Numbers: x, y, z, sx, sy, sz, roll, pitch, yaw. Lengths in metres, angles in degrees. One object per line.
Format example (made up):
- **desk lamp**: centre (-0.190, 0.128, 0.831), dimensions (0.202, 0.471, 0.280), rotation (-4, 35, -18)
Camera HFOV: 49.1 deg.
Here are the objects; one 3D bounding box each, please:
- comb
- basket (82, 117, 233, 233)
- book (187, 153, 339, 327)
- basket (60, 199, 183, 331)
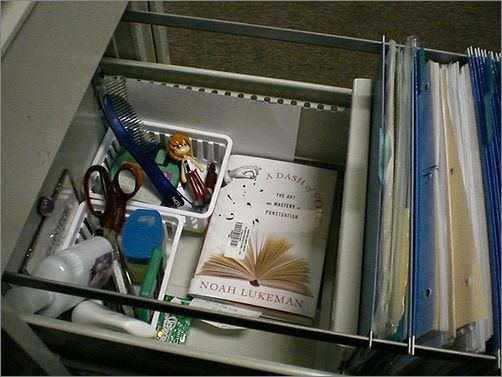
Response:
- **comb**: centre (-0.248, -0.099, 1.112), dimensions (0.111, 0.345, 0.020), rotation (-30, -1, -22)
- **basket**: centre (-0.153, -0.044, 1.115), dimensions (0.295, 0.191, 0.098), rotation (11, -14, 5)
- **book**: centre (0.033, 0.100, 1.063), dimensions (0.261, 0.299, 0.080), rotation (12, -23, 9)
- **basket**: centre (-0.216, 0.125, 0.947), dimensions (0.195, 0.213, 0.076), rotation (14, -8, 6)
